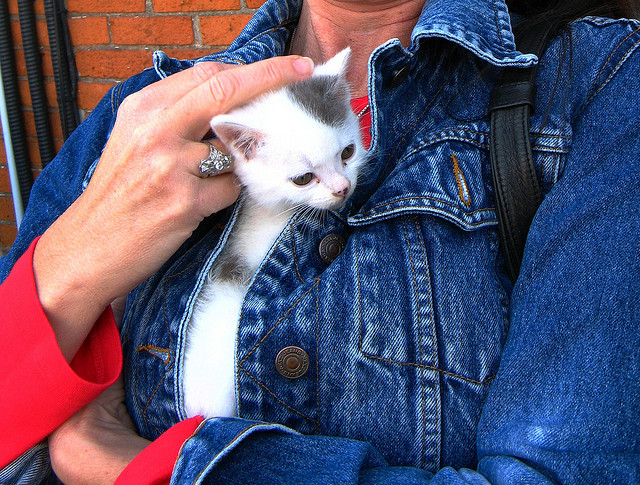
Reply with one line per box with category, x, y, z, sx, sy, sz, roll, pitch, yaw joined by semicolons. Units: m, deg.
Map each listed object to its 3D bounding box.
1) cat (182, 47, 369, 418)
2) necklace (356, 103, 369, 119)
cat;-0.149;-0.059;2.092;0.486;1.167;0.559;-16;37;-27
necklace;0.120;-0.360;1.908;0.040;0.009;0.038;-66;11;-17
